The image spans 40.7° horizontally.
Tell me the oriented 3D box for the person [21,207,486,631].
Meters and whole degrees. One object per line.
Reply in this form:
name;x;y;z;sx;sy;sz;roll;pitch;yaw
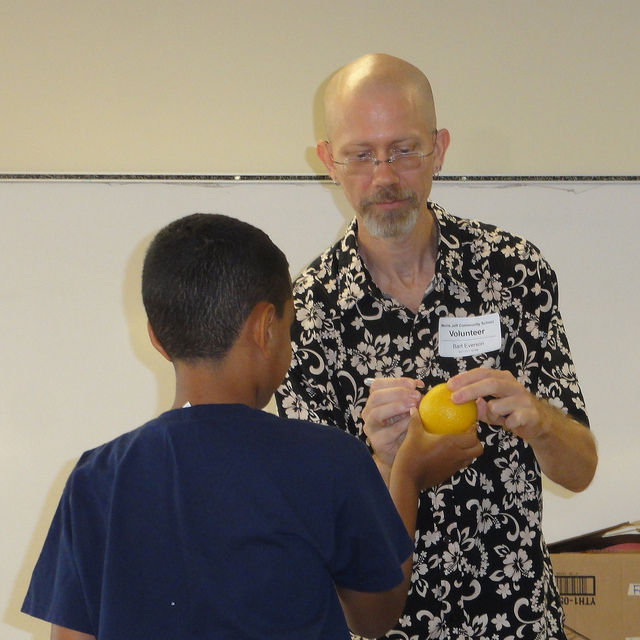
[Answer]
person;-0.200;0.200;1.599;0.701;0.782;0.278;-3;-15;-17

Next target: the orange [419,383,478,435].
orange;0.277;0.194;1.877;0.126;0.110;0.079;-8;-14;5
